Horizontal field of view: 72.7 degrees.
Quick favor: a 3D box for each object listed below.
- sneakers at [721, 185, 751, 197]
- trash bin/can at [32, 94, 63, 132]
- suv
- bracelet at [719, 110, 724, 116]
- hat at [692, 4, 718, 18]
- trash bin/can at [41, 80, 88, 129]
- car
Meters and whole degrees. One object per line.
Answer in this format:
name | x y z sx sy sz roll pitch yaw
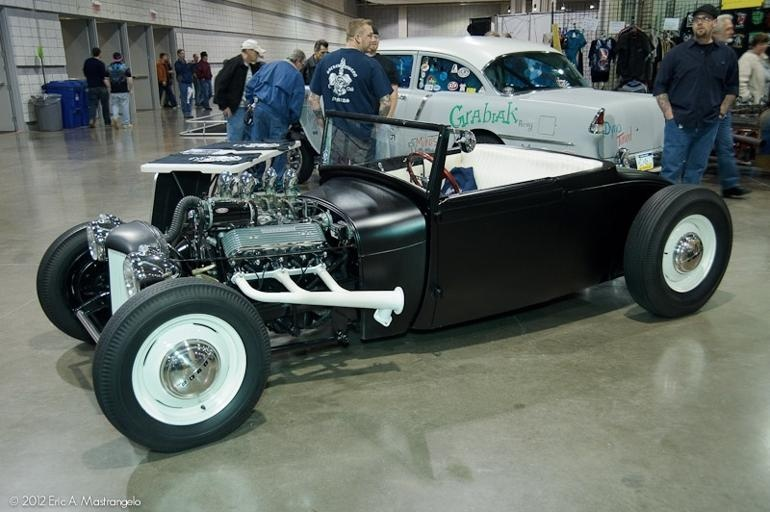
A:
sneakers | 4.359 -0.803 6.557 0.374 0.165 0.130 -5 22 -7
trash bin/can | -8.511 -3.605 13.213 0.904 0.921 0.809 -6 14 -23
suv | 0.263 -0.015 3.622 3.947 1.415 2.273 -9 17 -23
bracelet | 3.612 -1.516 5.600 0.046 0.057 0.021 1 -14 -2
hat | 3.235 -2.449 5.246 0.203 0.147 0.228 6 18 25
trash bin/can | -8.258 -4.104 14.076 1.255 1.436 1.112 -16 26 -39
car | 1.185 -1.828 6.855 3.986 1.477 2.126 12 20 30
